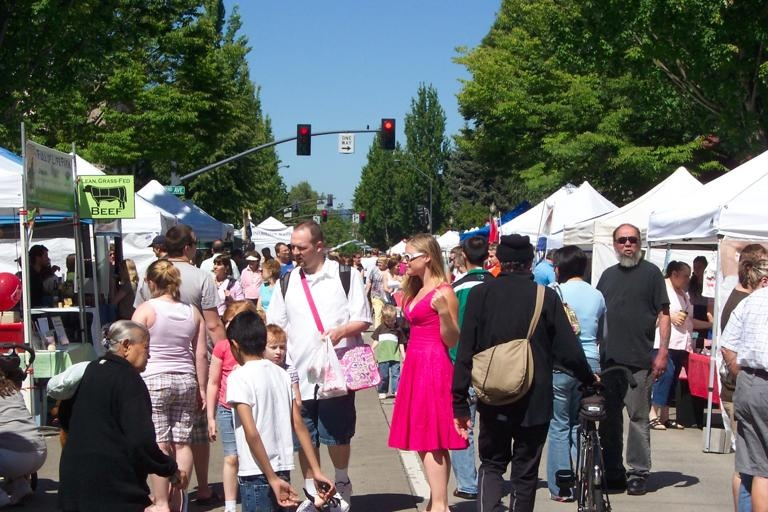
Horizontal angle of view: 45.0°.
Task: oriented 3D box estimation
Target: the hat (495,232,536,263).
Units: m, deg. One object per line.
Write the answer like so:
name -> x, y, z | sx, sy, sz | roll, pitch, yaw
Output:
hat -> 1.432, -0.094, 10.203 | 0.327, 0.233, 0.339 | 0, 1, 4

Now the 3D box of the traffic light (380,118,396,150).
traffic light -> 0.083, -4.265, 32.645 | 0.447, 1.004, 1.378 | -2, -5, -4

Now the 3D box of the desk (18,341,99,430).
desk -> -4.140, 1.615, 11.602 | 1.108, 0.745, 1.452 | 1, 5, -1

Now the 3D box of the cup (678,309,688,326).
cup -> 4.727, 0.991, 14.890 | 0.193, 0.215, 0.191 | 12, 11, -2

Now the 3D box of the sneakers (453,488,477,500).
sneakers -> 0.986, 3.006, 11.717 | 0.370, 0.133, 0.125 | -8, -7, 43

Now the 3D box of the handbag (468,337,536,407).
handbag -> 1.227, 1.224, 9.952 | 0.660, 0.736, 0.370 | -2, -21, 37

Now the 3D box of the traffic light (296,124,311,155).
traffic light -> -2.799, -4.009, 31.813 | 0.403, 1.066, 0.513 | -3, -4, 7

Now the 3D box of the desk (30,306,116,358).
desk -> -5.180, 1.190, 14.848 | 0.937, 0.628, 1.237 | 1, 0, 7

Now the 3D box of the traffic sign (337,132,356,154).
traffic sign -> -1.622, -4.719, 38.893 | 0.531, 0.885, 0.927 | -2, -5, -14

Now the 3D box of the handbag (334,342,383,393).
handbag -> -0.308, 1.298, 10.825 | 0.479, 0.527, 0.250 | -2, -4, -16
